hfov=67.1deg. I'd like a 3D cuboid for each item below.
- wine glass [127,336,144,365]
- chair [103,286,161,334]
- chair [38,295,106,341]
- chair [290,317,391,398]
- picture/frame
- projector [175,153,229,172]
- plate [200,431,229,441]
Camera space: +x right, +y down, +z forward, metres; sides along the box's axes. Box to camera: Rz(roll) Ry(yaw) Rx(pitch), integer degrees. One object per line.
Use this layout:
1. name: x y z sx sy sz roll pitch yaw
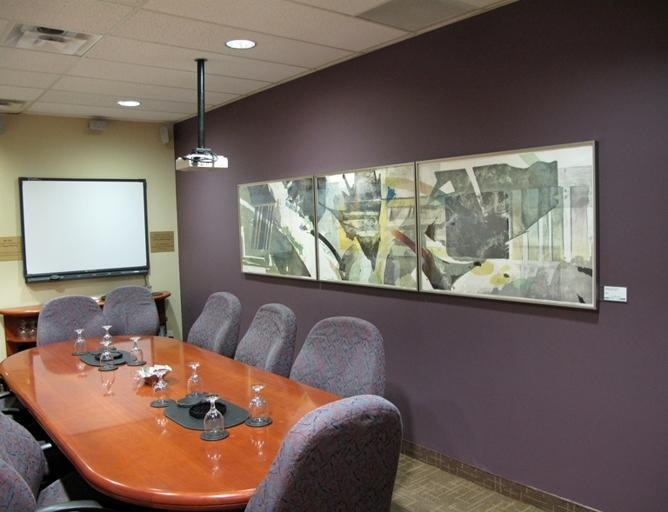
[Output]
1. wine glass: -1.483 0.715 3.774 0.120 0.221 0.126 -4 8 -25
2. chair: -2.036 0.522 5.196 0.440 0.681 0.511 -1 2 -23
3. chair: -2.411 0.500 4.643 0.409 0.591 0.436 -1 0 -32
4. chair: 0.106 0.557 3.206 0.456 0.656 0.519 2 0 34
5. picture/frame: 0.466 -0.230 3.912 2.953 1.071 0.133 6 13 44
6. projector: -1.060 -0.758 4.005 0.384 0.127 0.199 -6 10 -14
7. plate: -0.565 0.856 2.394 0.129 0.020 0.079 -5 10 -9
